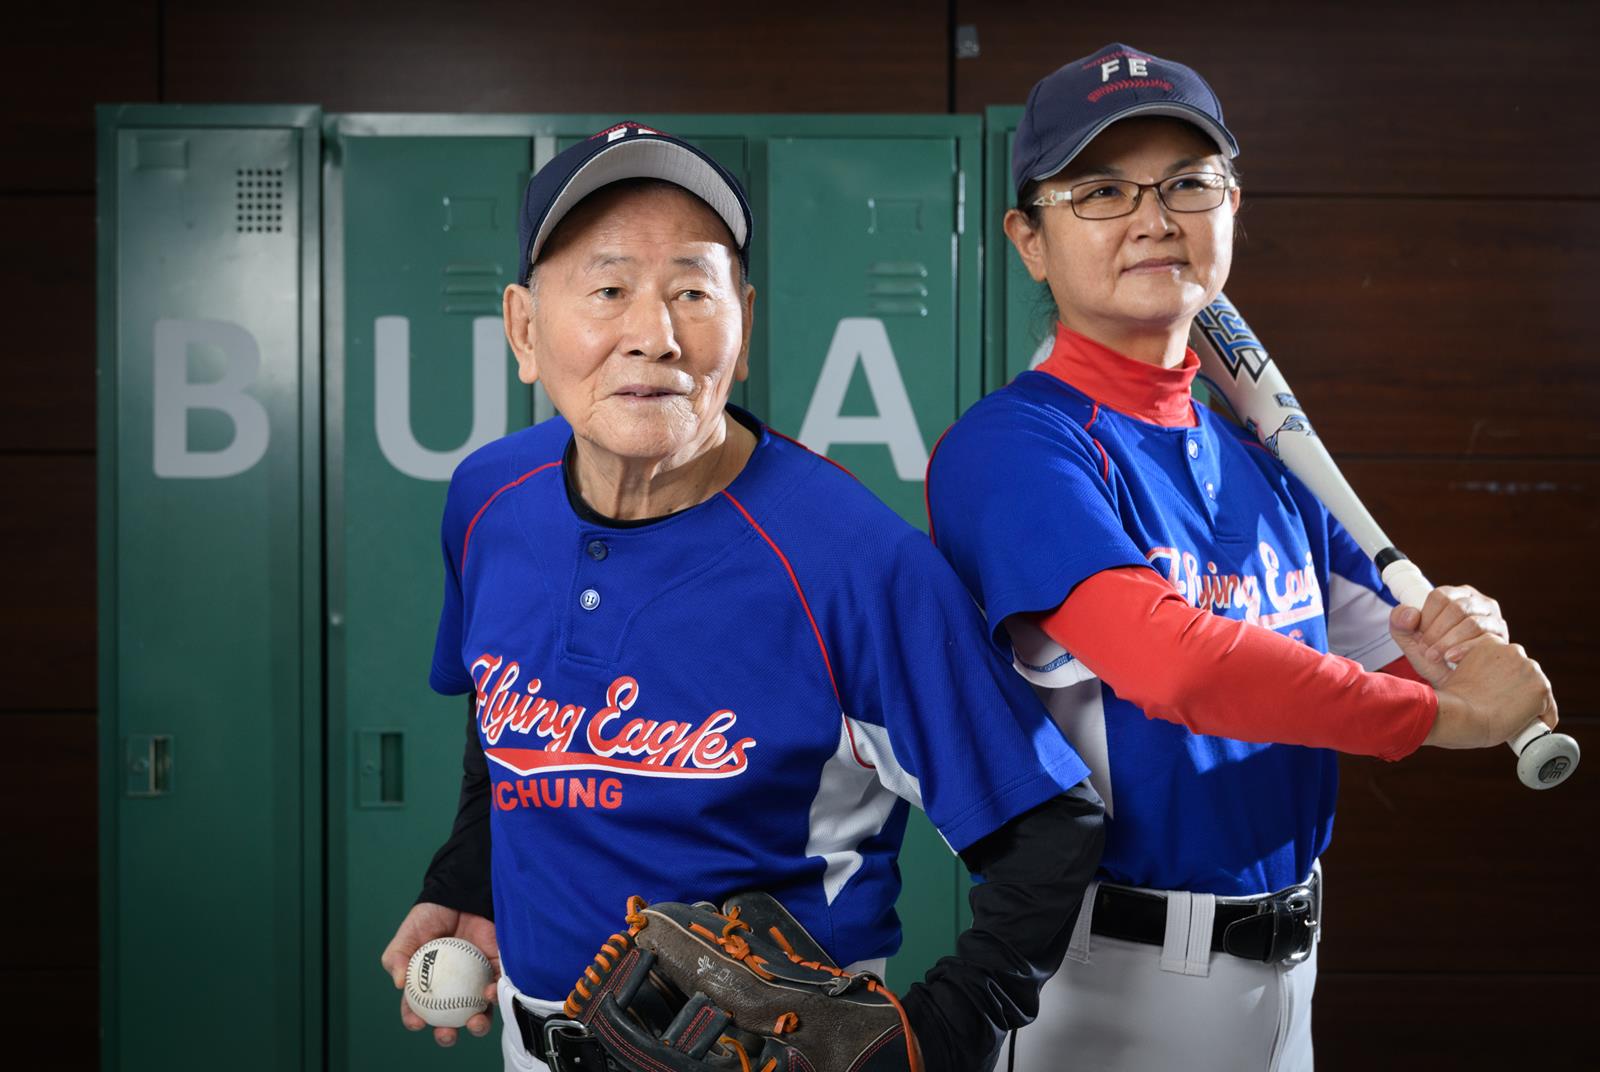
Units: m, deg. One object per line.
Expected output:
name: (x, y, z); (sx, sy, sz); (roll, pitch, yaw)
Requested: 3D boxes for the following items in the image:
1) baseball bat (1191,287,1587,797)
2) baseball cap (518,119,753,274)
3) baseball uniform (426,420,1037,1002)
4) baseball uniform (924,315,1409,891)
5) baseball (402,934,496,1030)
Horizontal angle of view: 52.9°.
baseball bat: (1.515, -0.042, 4.162); (0.179, 1.738, 0.188); (-39, -2, 33)
baseball cap: (-0.287, -0.774, 3.683); (0.469, 0.315, 0.669); (-2, 11, -4)
baseball uniform: (-0.146, 0.388, 3.471); (1.125, 0.916, 0.465); (7, 6, 22)
baseball uniform: (0.781, 0.148, 3.638); (1.434, 1.419, 0.721); (6, -12, -37)
baseball: (-0.798, 1.036, 3.708); (0.188, 0.201, 0.189); (10, -27, -23)
